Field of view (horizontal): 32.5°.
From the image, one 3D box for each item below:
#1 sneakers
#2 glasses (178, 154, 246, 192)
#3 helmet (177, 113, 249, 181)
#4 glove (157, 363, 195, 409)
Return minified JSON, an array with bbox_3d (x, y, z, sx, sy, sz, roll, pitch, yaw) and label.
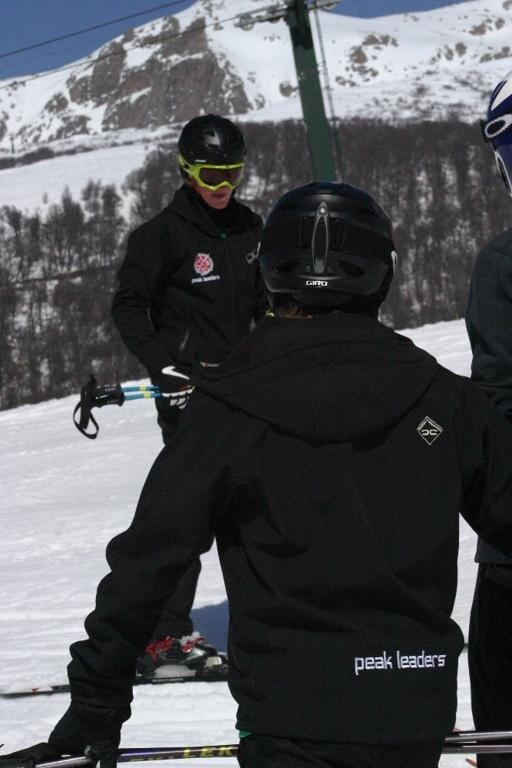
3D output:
[{"bbox_3d":[-0.352,1.338,4.413,0.676,0.223,0.279,0,-4,1],"label":"sneakers"},{"bbox_3d":[-0.194,-0.876,3.654,0.173,0.068,0.205,-6,25,-26],"label":"glasses"},{"bbox_3d":[-0.193,-1.031,3.742,0.274,0.253,0.306,-6,3,-28],"label":"helmet"},{"bbox_3d":[-0.294,-0.004,3.352,0.083,0.162,0.210,-54,-6,-15],"label":"glove"}]
